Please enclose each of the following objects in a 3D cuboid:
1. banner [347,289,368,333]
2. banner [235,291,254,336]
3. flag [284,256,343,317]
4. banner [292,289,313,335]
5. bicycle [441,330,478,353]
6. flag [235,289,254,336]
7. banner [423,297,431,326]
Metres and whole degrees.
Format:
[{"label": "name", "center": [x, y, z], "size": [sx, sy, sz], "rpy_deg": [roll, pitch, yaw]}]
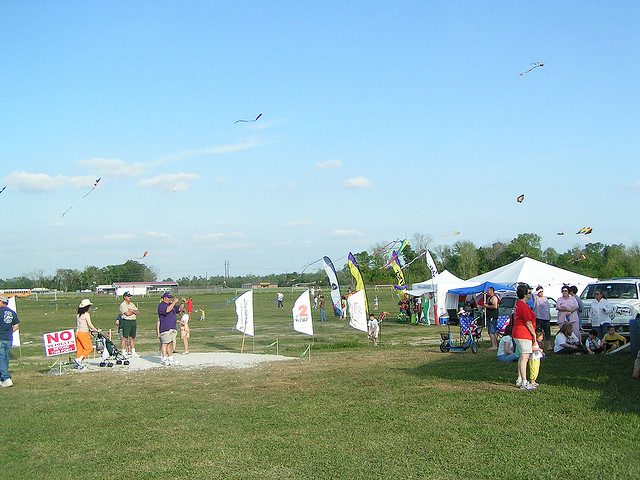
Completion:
[{"label": "banner", "center": [1.629, 3.047, 27.132], "size": [0.830, 1.759, 0.819], "rpy_deg": [-1, -5, -3]}, {"label": "banner", "center": [-3.017, 2.851, 24.409], "size": [0.803, 2.246, 0.220], "rpy_deg": [1, -45, -12]}, {"label": "flag", "center": [-0.375, 3.289, 40.082], "size": [3.767, 3.961, 3.889], "rpy_deg": [0, 21, 13]}, {"label": "banner", "center": [-0.710, 2.858, 24.931], "size": [0.706, 1.782, 0.793], "rpy_deg": [-1, -5, -2]}, {"label": "bicycle", "center": [4.596, 3.411, 20.797], "size": [1.075, 0.645, 0.549], "rpy_deg": [-2, 3, 11]}, {"label": "flag", "center": [-3.020, 2.868, 24.404], "size": [0.806, 2.340, 0.220], "rpy_deg": [-2, 34, -6]}, {"label": "banner", "center": [6.547, 4.295, 38.007], "size": [0.315, 1.613, 0.694], "rpy_deg": [0, -5, -9]}]
